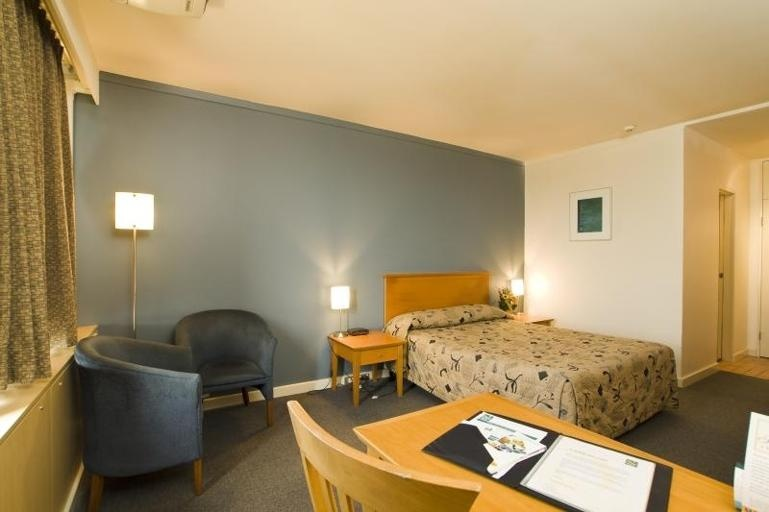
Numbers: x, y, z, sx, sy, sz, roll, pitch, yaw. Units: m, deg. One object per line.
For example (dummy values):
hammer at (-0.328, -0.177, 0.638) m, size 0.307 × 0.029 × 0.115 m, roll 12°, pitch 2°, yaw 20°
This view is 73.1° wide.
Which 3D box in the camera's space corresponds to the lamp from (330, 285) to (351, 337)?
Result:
lamp at (-0.474, 0.585, 5.599) m, size 0.222 × 0.534 × 0.349 m, roll 0°, pitch -1°, yaw -5°

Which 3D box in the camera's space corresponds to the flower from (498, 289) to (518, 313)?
flower at (1.579, 0.574, 6.737) m, size 0.304 × 0.313 × 0.285 m, roll 0°, pitch -6°, yaw -3°

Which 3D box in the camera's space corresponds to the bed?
bed at (1.182, 0.950, 5.319) m, size 1.701 × 1.157 × 2.261 m, roll -2°, pitch 2°, yaw -33°

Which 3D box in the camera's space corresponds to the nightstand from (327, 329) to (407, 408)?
nightstand at (-0.200, 1.162, 5.554) m, size 0.708 × 0.598 × 0.726 m, roll 0°, pitch -1°, yaw -33°

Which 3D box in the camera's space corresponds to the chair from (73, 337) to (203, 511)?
chair at (-2.003, 1.184, 4.484) m, size 1.228 × 1.493 × 1.243 m, roll -1°, pitch 1°, yaw -20°

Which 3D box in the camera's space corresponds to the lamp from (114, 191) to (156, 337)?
lamp at (-2.253, 0.063, 4.696) m, size 0.339 × 1.284 × 0.342 m, roll 0°, pitch -1°, yaw -27°

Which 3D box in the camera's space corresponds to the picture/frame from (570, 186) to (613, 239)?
picture/frame at (2.552, -0.541, 6.380) m, size 0.057 × 0.824 × 0.700 m, roll -1°, pitch 1°, yaw -34°
